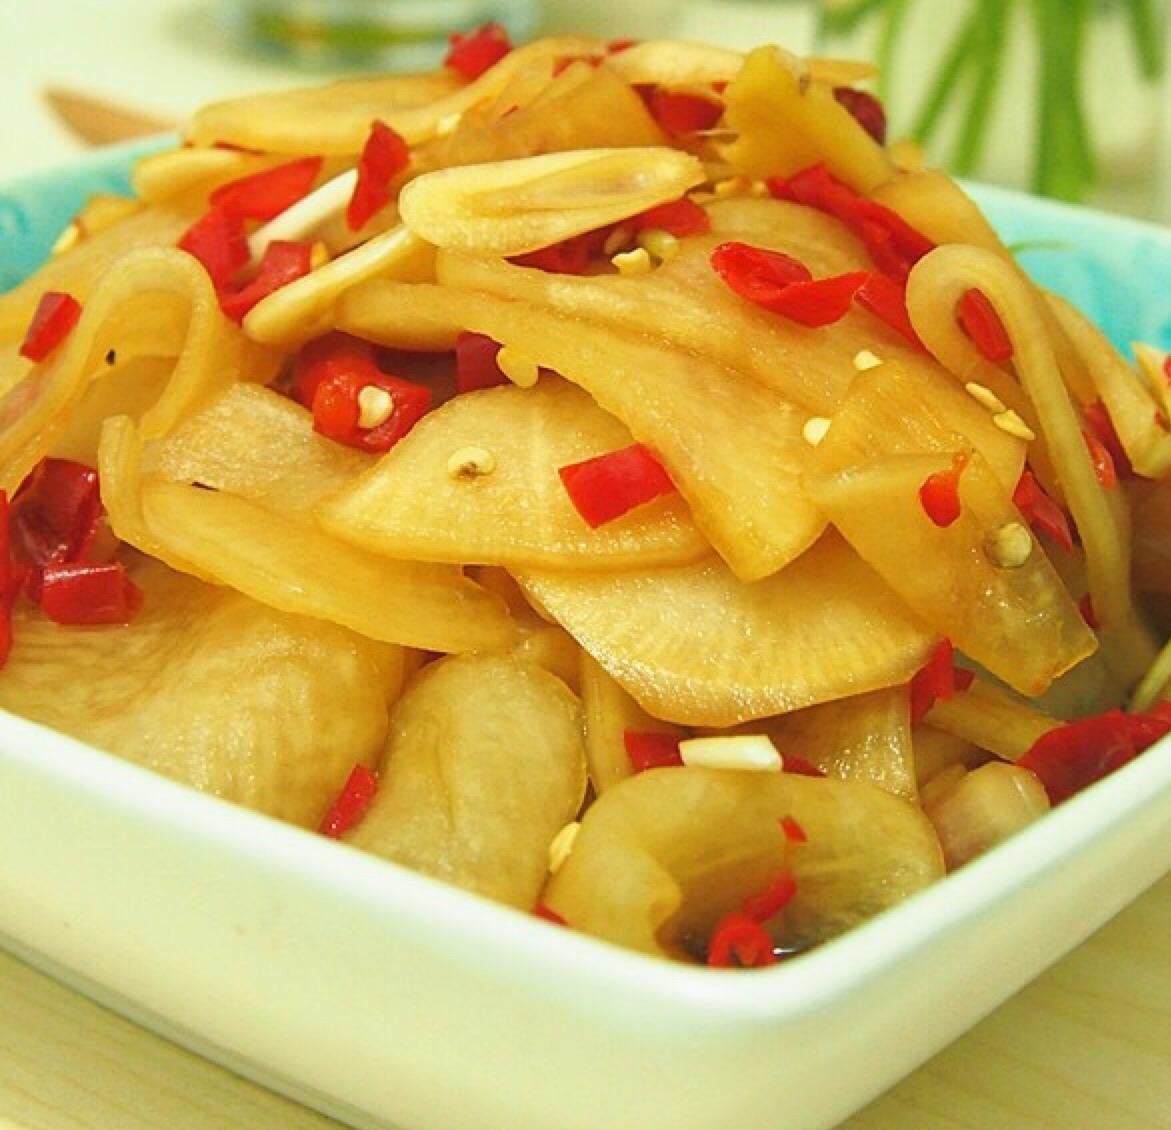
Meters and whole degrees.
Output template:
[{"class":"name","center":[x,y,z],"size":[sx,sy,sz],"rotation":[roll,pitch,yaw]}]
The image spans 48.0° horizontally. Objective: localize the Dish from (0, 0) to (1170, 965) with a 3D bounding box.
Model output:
[{"class":"Dish","center":[0.083,-0.049,0.927],"size":[0.741,0.174,0.704],"rotation":[22,38,27]}]
